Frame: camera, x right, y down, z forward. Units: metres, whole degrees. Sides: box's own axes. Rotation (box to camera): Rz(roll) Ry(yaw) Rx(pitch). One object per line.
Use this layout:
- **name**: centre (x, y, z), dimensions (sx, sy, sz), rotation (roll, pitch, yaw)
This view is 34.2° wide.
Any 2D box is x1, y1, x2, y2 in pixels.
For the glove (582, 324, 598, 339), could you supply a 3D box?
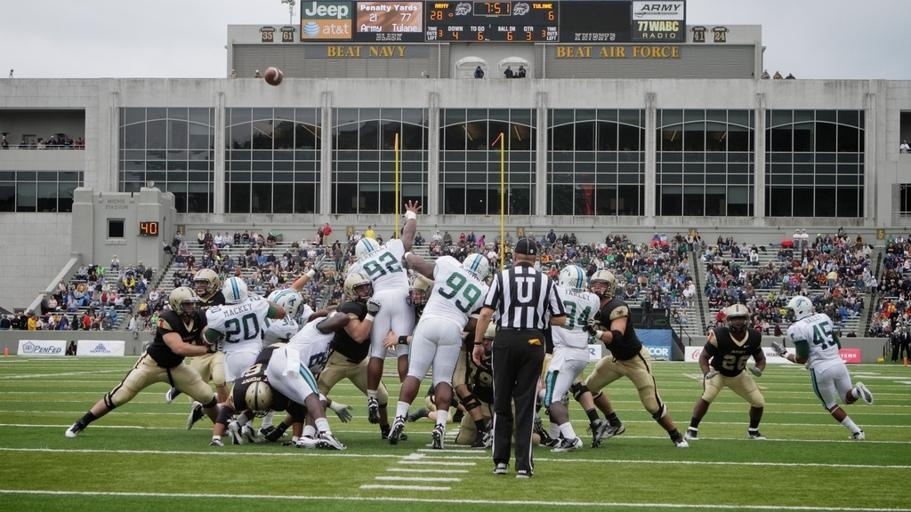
- **glove**: centre (5.937, 3.177, 64.597), dimensions (0.634, 0.541, 0.216), rotation (-1, -2, 30)

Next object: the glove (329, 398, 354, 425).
- **glove**: centre (-5.125, 6.890, 66.173), dimensions (0.402, 1.103, 0.792), rotation (-8, 30, 52)

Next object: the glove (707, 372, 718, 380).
- **glove**: centre (11.415, 5.175, 65.673), dimensions (0.567, 0.358, 0.142), rotation (0, -2, -3)

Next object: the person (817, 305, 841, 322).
- **person**: centre (20.693, 3.078, 81.643), dimensions (1.193, 1.151, 0.467), rotation (0, -8, -3)
